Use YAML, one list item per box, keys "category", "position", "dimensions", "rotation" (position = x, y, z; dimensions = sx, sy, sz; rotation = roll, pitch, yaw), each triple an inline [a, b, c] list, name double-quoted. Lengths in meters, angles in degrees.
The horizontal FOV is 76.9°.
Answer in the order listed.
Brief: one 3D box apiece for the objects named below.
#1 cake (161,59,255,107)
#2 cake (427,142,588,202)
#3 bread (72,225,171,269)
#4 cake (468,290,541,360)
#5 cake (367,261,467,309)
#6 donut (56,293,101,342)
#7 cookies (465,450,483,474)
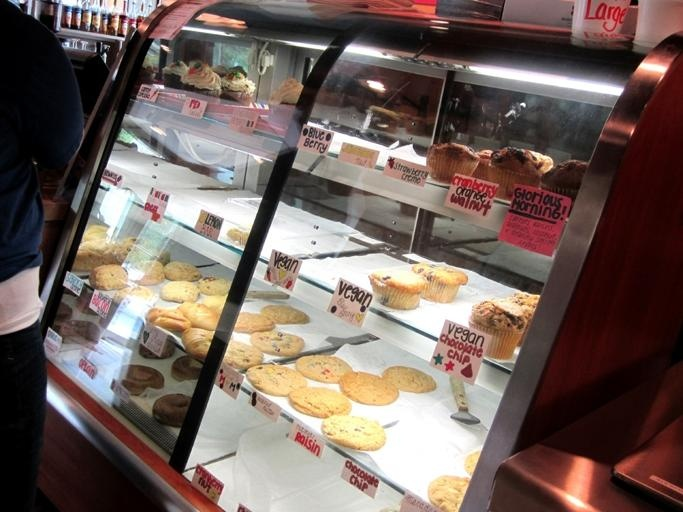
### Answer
- category: "cake"
  position: [-0.586, -0.701, 1.863]
  dimensions: [0.378, 0.093, 0.261]
  rotation: [16, 22, 17]
- category: "cake"
  position: [0.422, -0.242, 1.161]
  dimensions: [0.321, 0.077, 0.175]
  rotation: [10, 16, 13]
- category: "bread"
  position: [-1.052, -0.032, 2.056]
  dimensions: [0.310, 0.264, 0.070]
  rotation: [7, -35, -11]
- category: "cake"
  position: [0.404, 0.202, 1.188]
  dimensions: [0.161, 0.118, 0.182]
  rotation: [9, 4, 20]
- category: "cake"
  position: [0.243, 0.078, 1.347]
  dimensions: [0.235, 0.064, 0.155]
  rotation: [-5, 14, -20]
- category: "donut"
  position: [-1.218, 0.285, 2.011]
  dimensions: [0.244, 0.203, 0.054]
  rotation: [24, 3, 14]
- category: "cookies"
  position: [0.372, 0.592, 1.243]
  dimensions: [0.029, 0.046, 0.069]
  rotation: [18, 12, 16]
